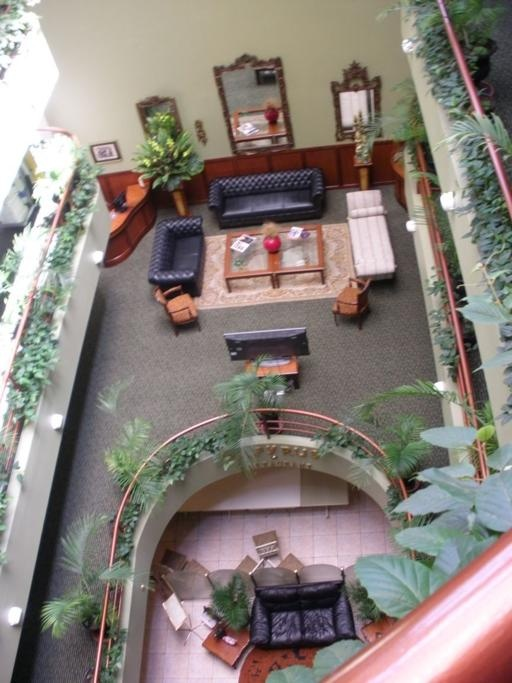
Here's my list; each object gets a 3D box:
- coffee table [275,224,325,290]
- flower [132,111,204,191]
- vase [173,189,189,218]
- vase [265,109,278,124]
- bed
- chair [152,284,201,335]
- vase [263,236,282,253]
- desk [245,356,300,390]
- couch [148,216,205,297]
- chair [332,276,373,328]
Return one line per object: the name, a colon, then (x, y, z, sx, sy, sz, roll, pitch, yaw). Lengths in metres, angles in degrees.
coffee table: (1.088, -2.019, 11.618, 1.318, 1.839, 0.599, -2, -25, 15)
flower: (-2.362, -4.919, 12.419, 1.595, 0.855, 1.446, -24, -34, 6)
vase: (-2.096, -3.841, 13.136, 0.358, 0.322, 1.057, -6, -22, 2)
vase: (0.411, -5.783, 12.151, 0.264, 0.258, 0.327, 4, -5, 7)
bed: (2.835, -2.551, 11.487, 1.029, 1.148, 2.298, -5, -43, 28)
chair: (-1.838, -0.804, 11.146, 0.771, 0.728, 1.089, -20, 13, -11)
vase: (0.404, -2.355, 11.460, 0.405, 0.461, 0.326, -20, 13, -8)
desk: (0.439, 0.558, 9.301, 0.952, 0.591, 0.594, 0, -19, 0)
couch: (-1.958, -2.077, 11.808, 1.334, 2.651, 1.140, -7, -27, 11)
chair: (2.159, -0.828, 10.494, 0.671, 0.700, 0.912, 16, -18, 19)
